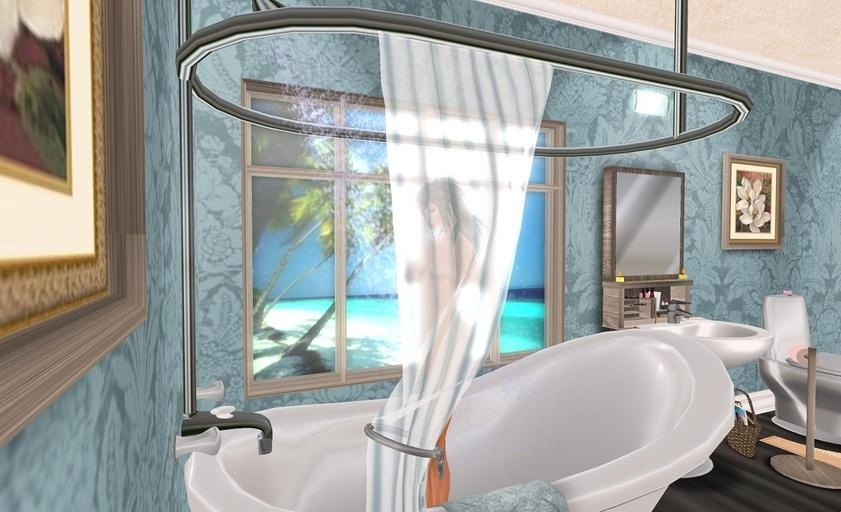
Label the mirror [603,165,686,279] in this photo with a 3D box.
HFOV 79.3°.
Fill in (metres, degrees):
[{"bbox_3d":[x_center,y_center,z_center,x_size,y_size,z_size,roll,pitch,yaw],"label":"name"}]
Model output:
[{"bbox_3d":[1.567,-0.239,3.591,0.892,0.972,0.118,0,0,-24],"label":"mirror"}]
